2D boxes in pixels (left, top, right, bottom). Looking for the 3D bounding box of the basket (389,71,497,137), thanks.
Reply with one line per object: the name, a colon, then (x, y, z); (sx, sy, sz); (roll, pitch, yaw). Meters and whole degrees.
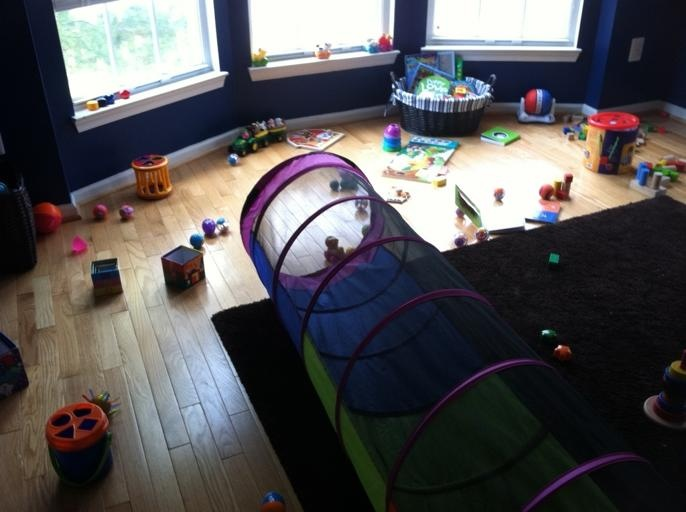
basket: (0.937, -1.364, 4.182); (0.812, 0.425, 0.768); (-4, 34, -11)
